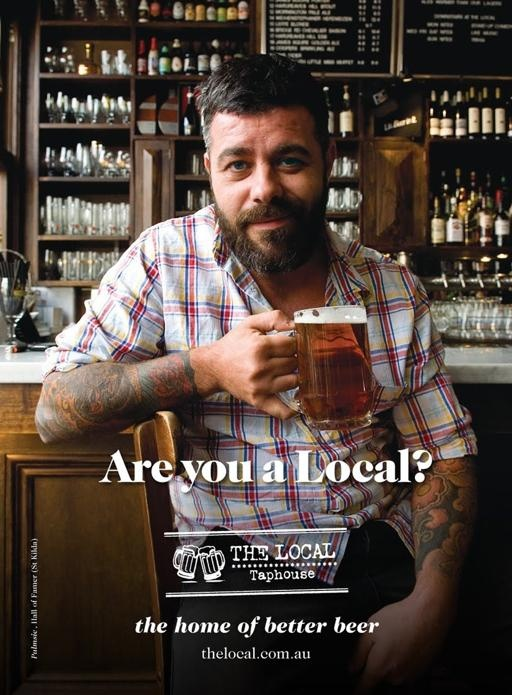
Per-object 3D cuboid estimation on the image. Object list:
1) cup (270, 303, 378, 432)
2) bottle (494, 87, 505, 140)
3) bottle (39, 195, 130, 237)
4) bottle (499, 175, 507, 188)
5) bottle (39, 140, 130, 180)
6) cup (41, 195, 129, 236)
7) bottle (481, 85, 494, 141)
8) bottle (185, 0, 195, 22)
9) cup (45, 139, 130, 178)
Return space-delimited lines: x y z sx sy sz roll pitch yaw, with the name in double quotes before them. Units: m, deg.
"cup" 0.103 0.029 0.825 0.102 0.166 0.055 0 4 2
"bottle" 1.293 -1.242 3.294 0.065 0.280 0.155 1 4 21
"bottle" -0.953 -0.711 3.449 0.416 0.151 0.258 1 5 -3
"bottle" 1.384 -0.931 3.482 0.044 0.056 0.017 -2 -2 -10
"bottle" -0.915 -1.004 3.395 0.640 0.225 0.203 1 11 -7
"cup" -0.946 -0.714 3.450 0.409 0.145 0.253 1 6 -1
"bottle" 1.224 -1.238 3.290 0.062 0.276 0.162 1 4 18
"bottle" -0.353 -1.781 3.301 0.058 0.094 0.032 -1 4 -6
"cup" -0.918 -1.047 3.488 0.595 0.215 0.203 2 6 4
